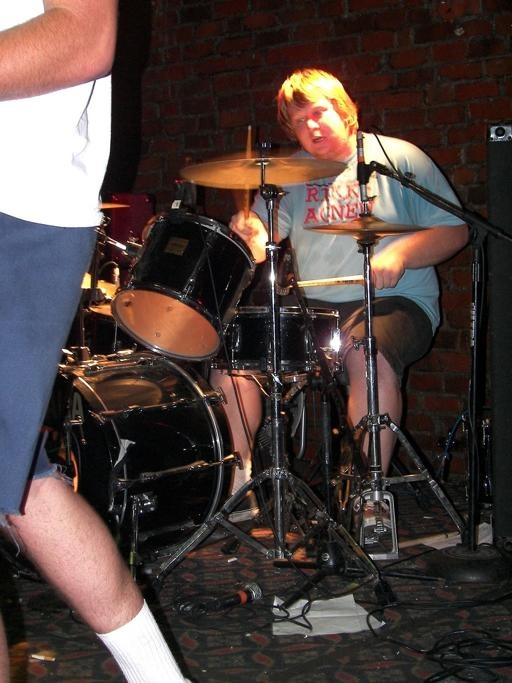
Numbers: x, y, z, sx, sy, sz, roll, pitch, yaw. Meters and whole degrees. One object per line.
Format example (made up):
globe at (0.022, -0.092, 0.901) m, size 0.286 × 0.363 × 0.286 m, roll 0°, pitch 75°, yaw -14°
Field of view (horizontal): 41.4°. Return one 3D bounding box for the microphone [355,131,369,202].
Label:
microphone at (0.286, -0.471, 1.821) m, size 0.048 × 0.176 × 0.047 m, roll -4°, pitch 11°, yaw -3°

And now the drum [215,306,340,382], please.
drum at (0.068, 0.001, 1.920) m, size 0.266 × 0.113 × 0.241 m, roll 2°, pitch 1°, yaw 14°

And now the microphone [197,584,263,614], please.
microphone at (-0.051, 0.606, 1.644) m, size 0.177 × 0.048 × 0.056 m, roll -1°, pitch 6°, yaw -43°

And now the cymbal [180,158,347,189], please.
cymbal at (0.048, -0.530, 2.127) m, size 0.289 × 0.058 × 0.281 m, roll 7°, pitch 14°, yaw 32°
